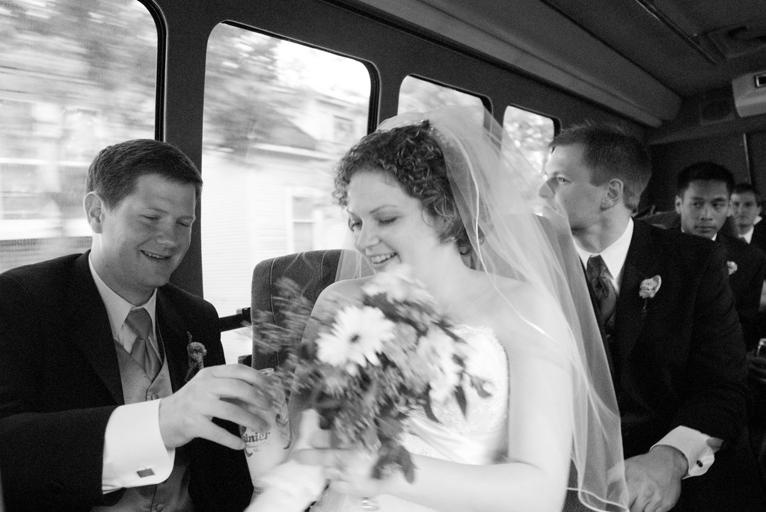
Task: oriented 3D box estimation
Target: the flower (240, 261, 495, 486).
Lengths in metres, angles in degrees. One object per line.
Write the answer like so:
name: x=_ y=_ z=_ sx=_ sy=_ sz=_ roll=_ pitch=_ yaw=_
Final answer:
flower: x=-0.070 y=0.414 z=2.512 sx=0.862 sy=0.812 sz=0.516 roll=1 pitch=-4 yaw=-14
